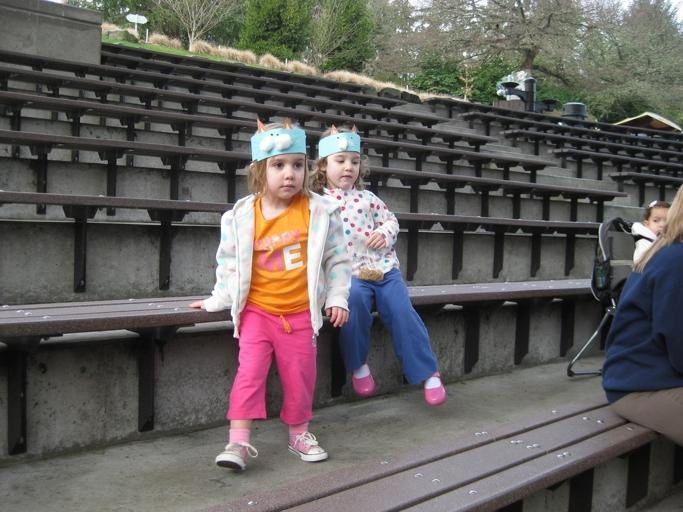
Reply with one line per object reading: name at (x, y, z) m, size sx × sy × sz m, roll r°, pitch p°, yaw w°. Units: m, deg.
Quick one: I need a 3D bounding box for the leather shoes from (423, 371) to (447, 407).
leather shoes at (0.500, 0.722, 3.550) m, size 0.094 × 0.155 × 0.203 m, roll -3°, pitch 1°, yaw 9°

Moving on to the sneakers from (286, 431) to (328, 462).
sneakers at (-0.158, 0.880, 3.073) m, size 0.087 × 0.087 × 0.202 m, roll 2°, pitch -2°, yaw -36°

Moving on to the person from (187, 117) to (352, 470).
person at (-0.280, 0.152, 3.029) m, size 0.706 × 1.469 × 0.337 m, roll -4°, pitch 1°, yaw -19°

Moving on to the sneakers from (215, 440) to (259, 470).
sneakers at (-0.451, 0.874, 2.919) m, size 0.102 × 0.099 × 0.236 m, roll 13°, pitch -14°, yaw 15°

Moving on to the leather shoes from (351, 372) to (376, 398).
leather shoes at (0.128, 0.716, 3.665) m, size 0.104 × 0.111 × 0.109 m, roll -3°, pitch 1°, yaw 26°
